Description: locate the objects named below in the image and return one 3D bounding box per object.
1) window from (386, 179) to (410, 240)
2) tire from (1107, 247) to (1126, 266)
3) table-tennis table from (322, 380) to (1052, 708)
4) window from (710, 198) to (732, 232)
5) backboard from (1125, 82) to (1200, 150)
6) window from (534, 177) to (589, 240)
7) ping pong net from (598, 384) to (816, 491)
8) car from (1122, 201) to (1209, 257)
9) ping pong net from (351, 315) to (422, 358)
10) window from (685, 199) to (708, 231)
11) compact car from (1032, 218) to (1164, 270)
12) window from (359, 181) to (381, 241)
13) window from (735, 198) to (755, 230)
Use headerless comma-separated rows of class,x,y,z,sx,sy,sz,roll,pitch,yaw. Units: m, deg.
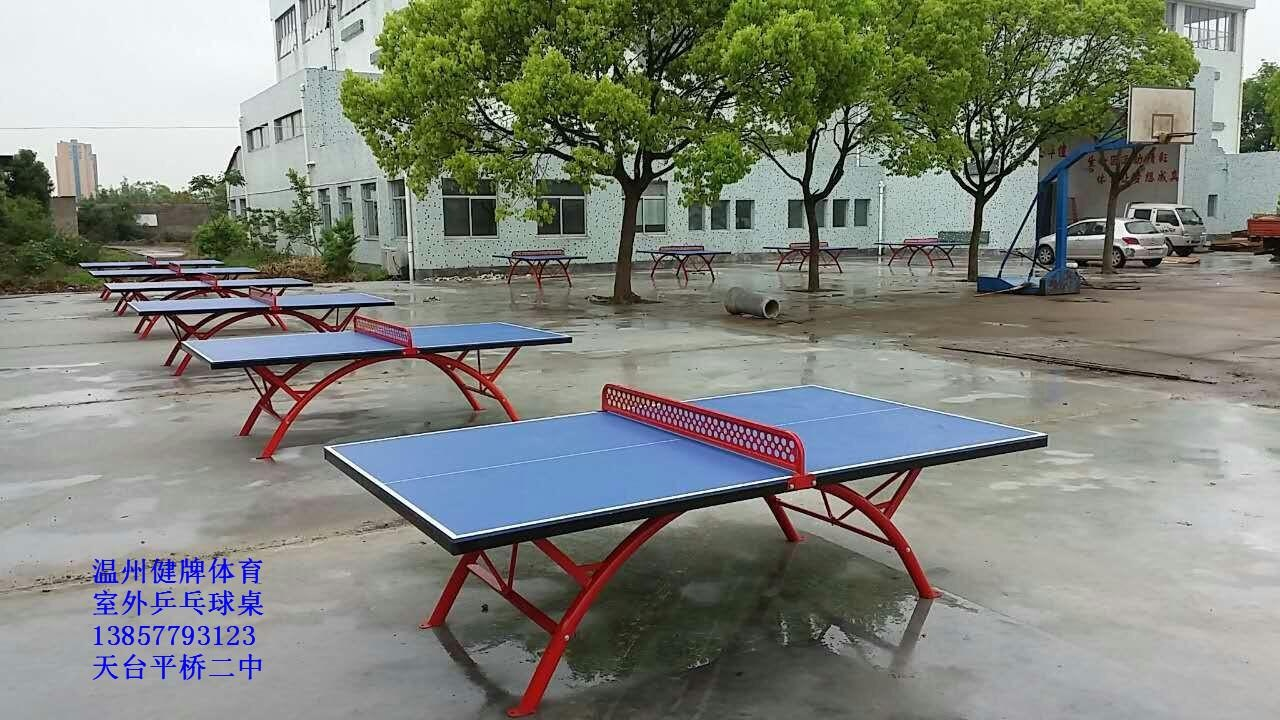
window,-7.213,-4.529,23.110,0.239,1.720,0.885,-11,14,-38
tire,14.782,-3.185,23.991,0.335,0.611,0.966,4,11,31
table-tennis table,0.146,0.856,4.581,3.552,1.247,1.471,-5,10,-21
window,2.781,-5.175,27.474,0.254,1.018,0.889,8,14,41
backboard,11.893,-5.598,17.553,1.738,1.233,0.674,-3,10,-5
window,-2.405,-4.823,24.510,1.509,1.718,0.354,-10,13,-38
ping pong net,0.243,0.392,4.731,0.268,0.275,1.935,-19,20,-33
car,17.516,-4.580,25.995,1.506,1.437,2.369,-15,21,-15
ping pong net,-2.414,-0.216,7.399,0.227,0.310,1.181,-10,11,-37
window,1.936,-4.987,26.935,0.725,0.912,0.193,-9,13,-37
compact car,14.568,-3.675,24.259,3.258,1.550,1.710,4,11,32
window,-8.507,-4.775,24.399,0.175,2.006,1.766,-8,16,-27
window,3.708,-5.294,28.092,1.083,0.943,0.247,-9,13,-39
